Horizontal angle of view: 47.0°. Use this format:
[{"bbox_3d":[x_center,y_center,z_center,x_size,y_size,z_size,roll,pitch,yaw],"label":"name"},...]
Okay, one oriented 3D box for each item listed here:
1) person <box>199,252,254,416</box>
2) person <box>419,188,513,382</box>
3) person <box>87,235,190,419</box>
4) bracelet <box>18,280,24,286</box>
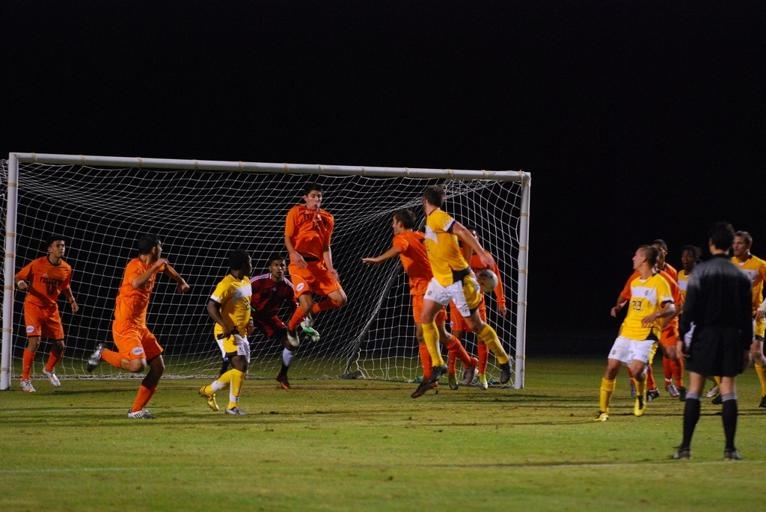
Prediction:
[{"bbox_3d":[-2.168,1.069,12.388,0.590,2.312,0.713,4,-5,-10],"label":"person"},{"bbox_3d":[1.169,0.451,13.218,1.045,2.872,1.256,2,-5,13],"label":"person"},{"bbox_3d":[-3.369,0.960,11.977,1.034,2.486,0.644,3,-5,-4],"label":"person"},{"bbox_3d":[-5.880,0.443,14.318,0.100,0.077,0.021,0,10,-3],"label":"bracelet"}]
